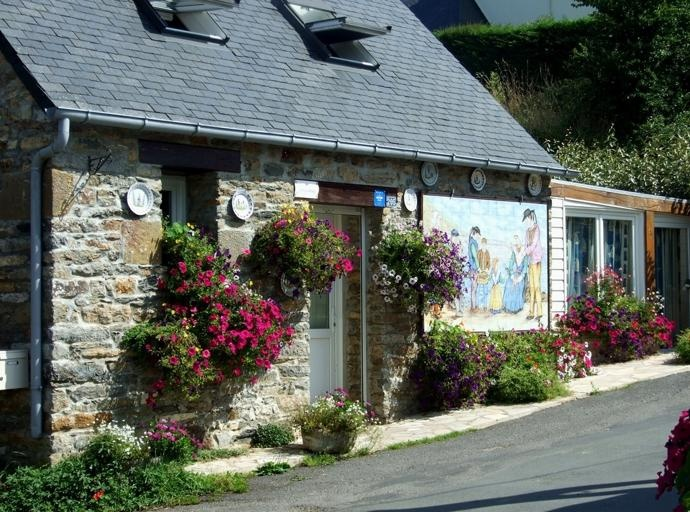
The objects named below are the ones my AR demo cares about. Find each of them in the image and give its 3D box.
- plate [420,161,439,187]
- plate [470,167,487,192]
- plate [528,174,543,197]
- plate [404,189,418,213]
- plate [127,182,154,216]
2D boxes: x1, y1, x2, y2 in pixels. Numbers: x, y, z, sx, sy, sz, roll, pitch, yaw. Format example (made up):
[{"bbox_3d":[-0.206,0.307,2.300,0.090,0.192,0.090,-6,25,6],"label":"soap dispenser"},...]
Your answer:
[{"bbox_3d":[1.311,-1.312,17.036,0.348,0.419,0.052,6,-8,-37],"label":"plate"},{"bbox_3d":[2.186,-1.255,17.626,0.366,0.388,0.077,-12,13,-41],"label":"plate"},{"bbox_3d":[3.230,-1.212,18.358,0.065,0.393,0.367,6,13,41],"label":"plate"},{"bbox_3d":[1.013,-0.881,16.853,0.068,0.322,0.300,-1,-1,31],"label":"plate"},{"bbox_3d":[-2.769,-0.768,14.512,0.401,0.455,0.094,-11,13,-40],"label":"plate"}]
